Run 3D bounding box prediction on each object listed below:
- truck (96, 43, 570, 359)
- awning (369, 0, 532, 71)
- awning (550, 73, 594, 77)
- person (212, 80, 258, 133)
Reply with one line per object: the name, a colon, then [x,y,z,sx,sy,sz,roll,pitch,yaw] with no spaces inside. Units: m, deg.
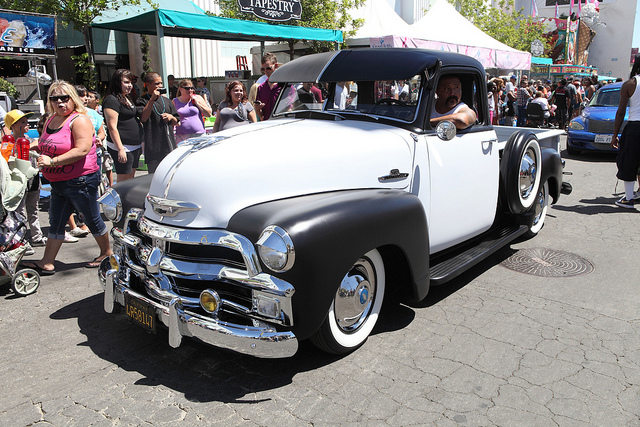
truck: [0.565,-0.103,4.907,2.781,2.101,4.963,12,21,42]
awning: [6.072,-8.358,19.683,10.167,3.187,3.347,-18,26,-39]
awning: [28.333,-15.725,47.550,4.435,0.316,1.943,-9,22,-22]
person: [-1.485,-1.819,7.434,0.755,1.021,0.537,-1,1,12]
